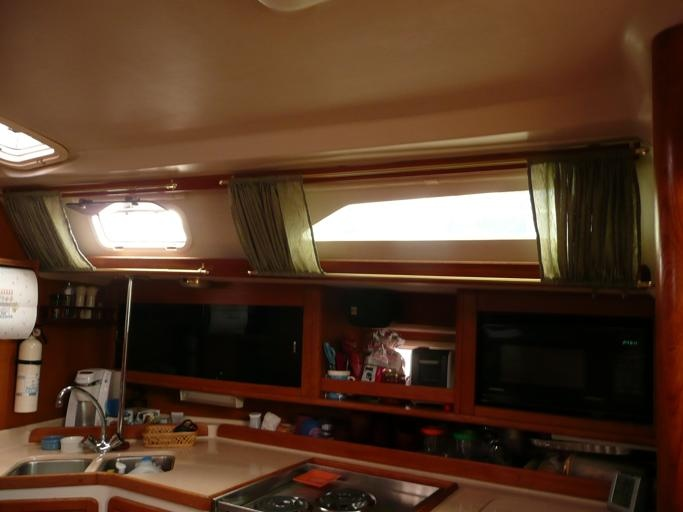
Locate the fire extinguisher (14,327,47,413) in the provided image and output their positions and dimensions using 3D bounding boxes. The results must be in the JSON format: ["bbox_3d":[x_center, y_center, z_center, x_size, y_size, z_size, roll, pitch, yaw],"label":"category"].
[{"bbox_3d":[-2.110,0.763,3.477,0.179,0.544,0.154,10,0,-25],"label":"fire extinguisher"}]

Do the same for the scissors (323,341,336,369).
[{"bbox_3d":[-0.071,0.634,3.265,0.062,0.234,0.046,6,-12,-35],"label":"scissors"}]

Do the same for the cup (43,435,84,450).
[{"bbox_3d":[-1.818,1.216,3.325,0.182,0.064,0.130,-2,-8,7],"label":"cup"}]

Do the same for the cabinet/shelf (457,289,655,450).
[{"bbox_3d":[1.027,0.825,2.702,1.181,0.849,0.637,3,-2,21],"label":"cabinet/shelf"}]

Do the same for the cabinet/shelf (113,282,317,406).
[{"bbox_3d":[-0.841,0.614,3.574,1.724,0.733,0.505,-2,-9,27],"label":"cabinet/shelf"}]

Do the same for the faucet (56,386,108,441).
[{"bbox_3d":[-1.790,1.090,3.543,0.292,0.438,0.286,5,0,31],"label":"faucet"}]

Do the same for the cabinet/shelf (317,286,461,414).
[{"bbox_3d":[0.305,0.552,3.190,0.837,0.646,0.429,-1,5,25],"label":"cabinet/shelf"}]

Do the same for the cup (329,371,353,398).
[{"bbox_3d":[0.008,0.788,3.136,0.173,0.168,0.114,-3,-11,15],"label":"cup"}]
